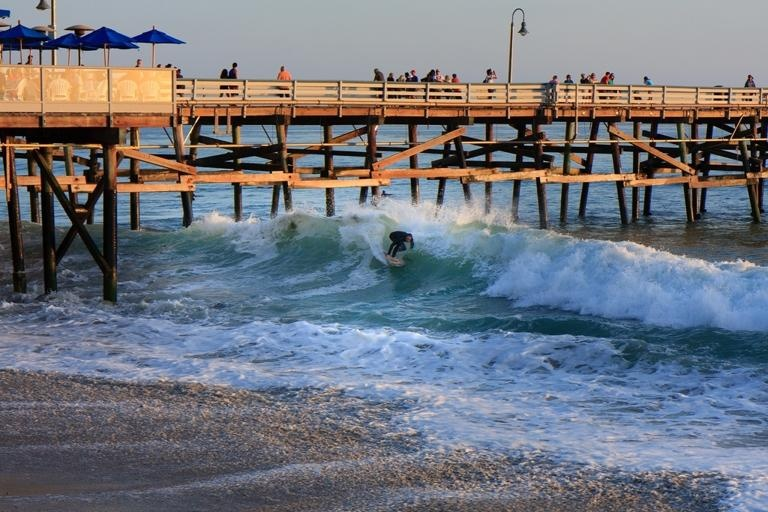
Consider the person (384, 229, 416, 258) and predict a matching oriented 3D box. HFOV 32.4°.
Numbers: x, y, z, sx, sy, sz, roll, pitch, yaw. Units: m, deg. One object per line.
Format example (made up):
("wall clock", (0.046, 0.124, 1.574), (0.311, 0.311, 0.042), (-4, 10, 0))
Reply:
("person", (0.430, -0.308, 36.178), (0.981, 0.522, 0.654), (-31, -5, 40))
